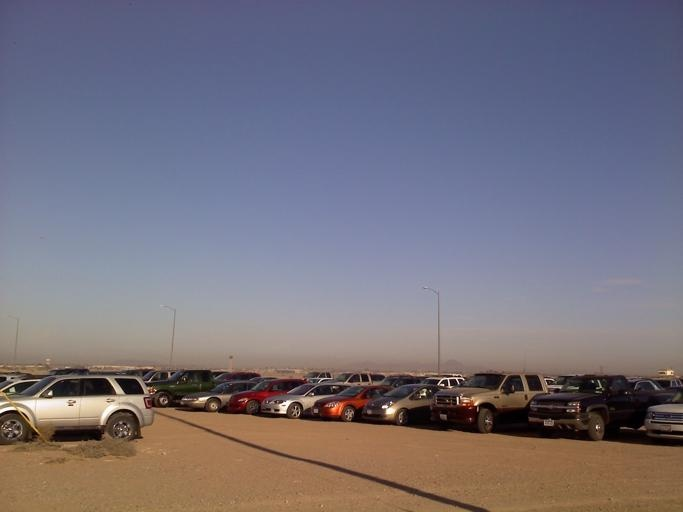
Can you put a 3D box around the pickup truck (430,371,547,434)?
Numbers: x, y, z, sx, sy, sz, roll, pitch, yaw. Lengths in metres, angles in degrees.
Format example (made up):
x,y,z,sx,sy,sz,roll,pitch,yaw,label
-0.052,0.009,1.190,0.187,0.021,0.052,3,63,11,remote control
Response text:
x,y,z,sx,sy,sz,roll,pitch,yaw,label
6.390,5.868,21.747,5.403,1.746,2.990,6,-7,-30,pickup truck
